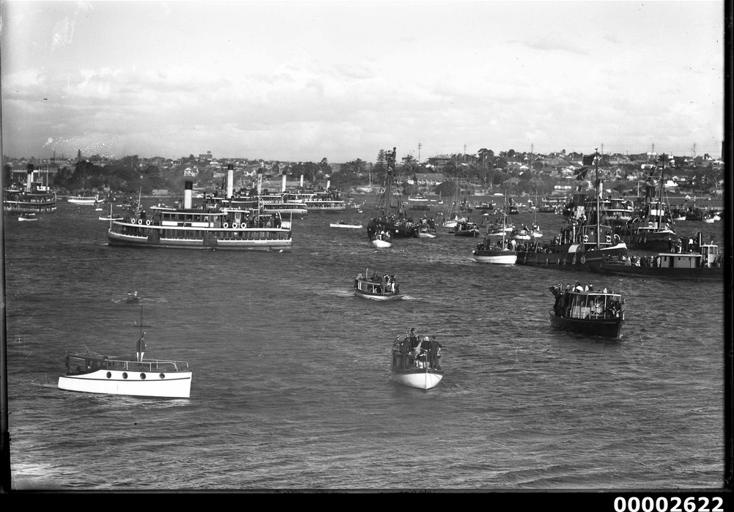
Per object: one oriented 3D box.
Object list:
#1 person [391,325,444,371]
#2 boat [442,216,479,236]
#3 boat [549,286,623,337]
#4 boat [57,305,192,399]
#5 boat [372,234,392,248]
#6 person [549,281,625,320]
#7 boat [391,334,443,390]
[{"bbox_3d":[0.704,1.502,18.414,0.401,0.557,1.183,0,-4,-9],"label":"person"},{"bbox_3d":[2.918,-0.948,37.814,0.473,0.387,1.607,3,4,-8],"label":"boat"},{"bbox_3d":[3.742,0.949,20.572,0.598,0.772,1.999,0,0,-14],"label":"boat"},{"bbox_3d":[-4.226,1.695,21.078,3.124,1.960,1.096,0,2,25],"label":"boat"},{"bbox_3d":[0.390,-0.404,32.794,0.353,0.271,0.739,1,-3,3],"label":"boat"},{"bbox_3d":[3.663,0.764,20.482,0.683,0.519,1.207,0,0,-10],"label":"person"},{"bbox_3d":[0.704,1.574,18.364,0.531,0.473,1.111,1,2,-8],"label":"boat"}]
